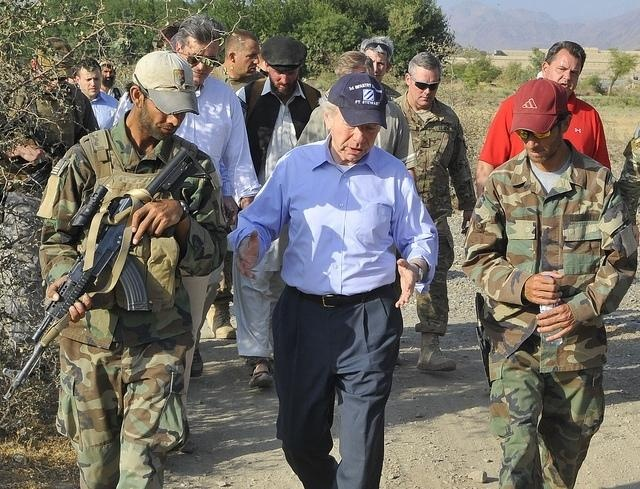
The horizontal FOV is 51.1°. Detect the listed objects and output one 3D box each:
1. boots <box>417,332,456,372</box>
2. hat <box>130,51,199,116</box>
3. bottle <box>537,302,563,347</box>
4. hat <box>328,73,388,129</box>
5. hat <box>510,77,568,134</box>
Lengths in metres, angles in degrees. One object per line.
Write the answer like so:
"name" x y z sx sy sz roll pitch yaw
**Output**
"boots" 1.152 1.076 6.633 0.195 0.407 0.396 19 -15 -39
"hat" -0.814 -0.884 3.624 0.277 0.230 0.407 -5 41 -47
"bottle" 1.296 0.460 3.794 0.158 0.240 0.079 -2 5 2
"hat" 0.202 -0.769 3.707 0.234 0.194 0.343 8 28 -28
"hat" 1.280 -0.826 3.877 0.245 0.204 0.388 11 39 29
